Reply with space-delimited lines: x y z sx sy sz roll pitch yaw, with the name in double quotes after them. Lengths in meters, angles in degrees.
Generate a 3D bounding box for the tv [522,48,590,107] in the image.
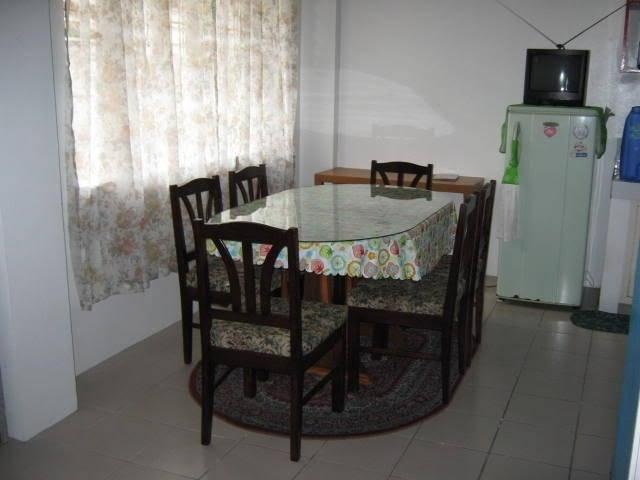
1.816 -1.243 3.954 0.398 0.404 0.224 5 12 24 "tv"

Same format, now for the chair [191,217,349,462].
-0.290 0.406 2.559 0.784 1.125 0.548 3 16 14 "chair"

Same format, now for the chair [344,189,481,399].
0.621 0.325 3.080 0.693 1.221 0.678 4 6 31 "chair"

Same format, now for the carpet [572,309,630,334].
2.118 0.606 3.896 0.394 0.026 0.466 8 19 30 "carpet"

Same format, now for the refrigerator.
1.762 -0.236 4.024 0.707 1.565 0.399 5 16 20 "refrigerator"
